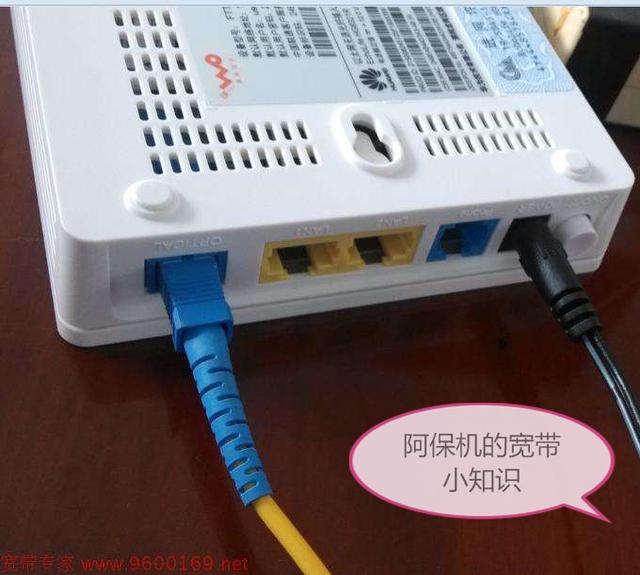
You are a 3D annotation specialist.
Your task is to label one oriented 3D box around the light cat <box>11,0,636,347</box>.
[{"bbox_3d":[0.010,-0.107,0.457,0.409,0.126,0.237,-10,57,-11],"label":"light cat"}]
